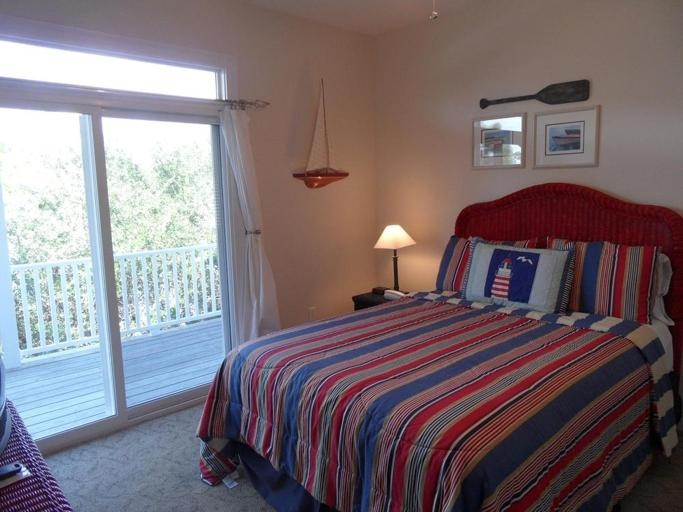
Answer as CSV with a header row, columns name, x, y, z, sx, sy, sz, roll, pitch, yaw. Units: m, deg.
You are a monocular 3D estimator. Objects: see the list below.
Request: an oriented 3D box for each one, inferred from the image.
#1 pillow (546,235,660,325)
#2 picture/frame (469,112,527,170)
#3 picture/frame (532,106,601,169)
name,x,y,z,sx,sy,sz,roll,pitch,yaw
pillow,1.846,0.180,3.570,0.688,0.526,0.248,6,18,42
picture/frame,1.317,-0.956,4.229,0.438,0.449,0.051,-2,7,-1
picture/frame,1.761,-0.918,3.853,0.036,0.496,0.484,-8,9,-42
